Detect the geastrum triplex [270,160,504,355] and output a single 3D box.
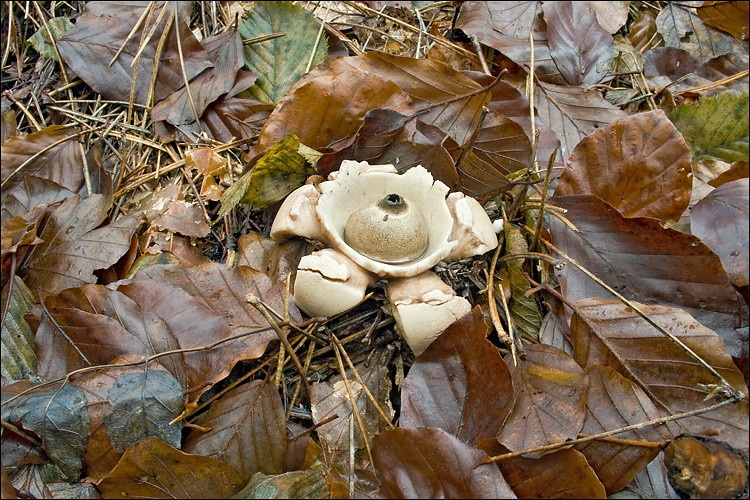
[{"bbox_3d":[0.001,0.087,2.695,0.707,0.294,0.695,-20,68,-18],"label":"geastrum triplex"}]
